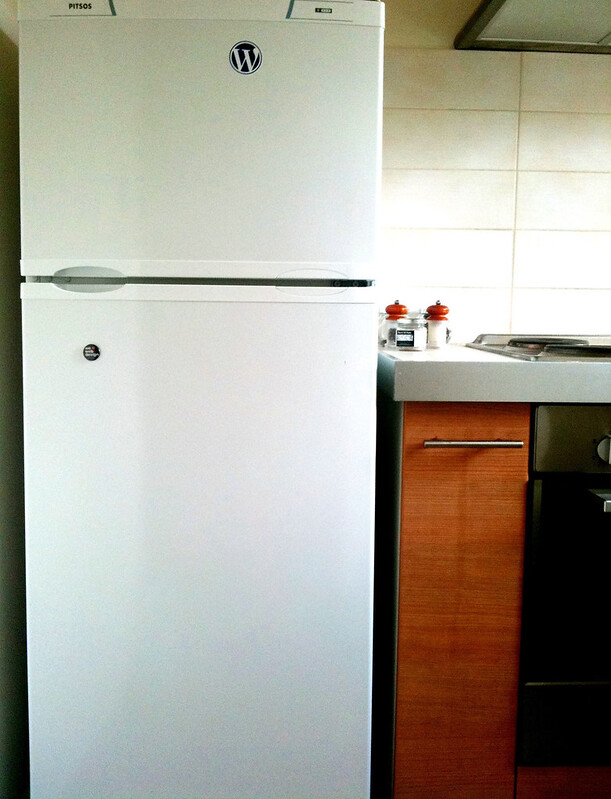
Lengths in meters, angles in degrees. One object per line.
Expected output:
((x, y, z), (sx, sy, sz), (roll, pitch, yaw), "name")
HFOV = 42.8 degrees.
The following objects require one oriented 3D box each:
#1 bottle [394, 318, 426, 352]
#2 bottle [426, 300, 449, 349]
((0.226, -0.143, 1.695), (0.080, 0.065, 0.129), (5, 7, 8), "bottle")
((0.299, -0.169, 1.758), (0.048, 0.105, 0.121), (4, 7, 7), "bottle")
